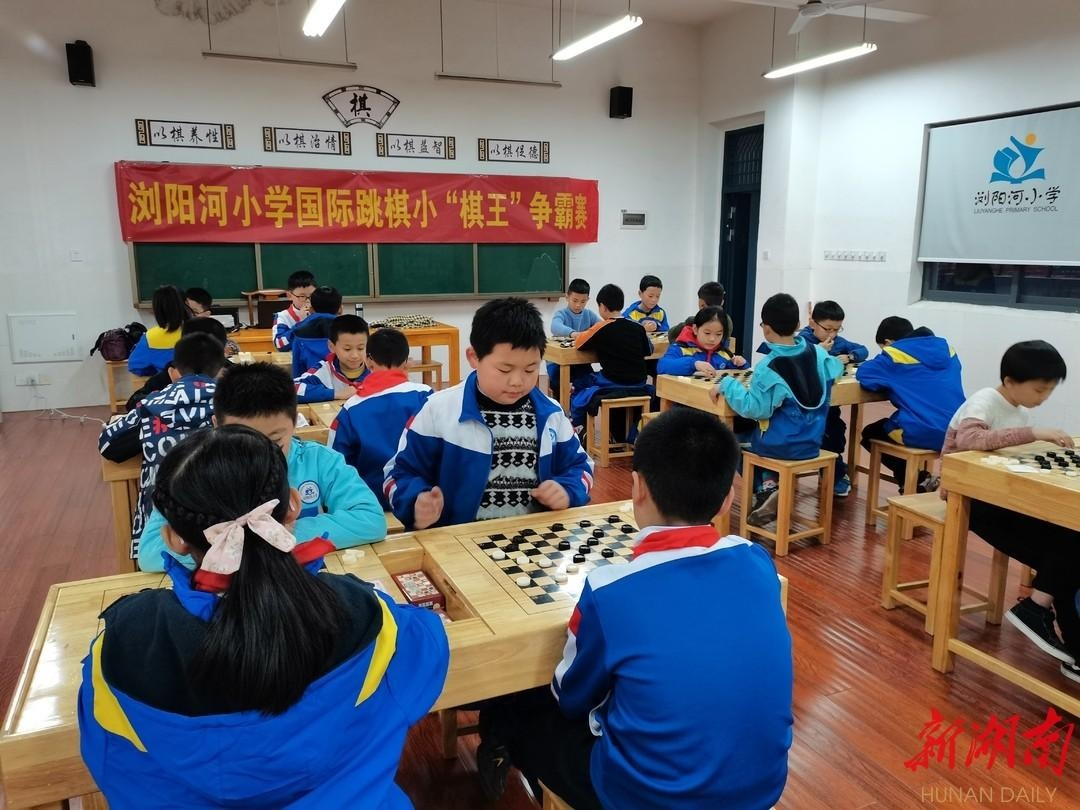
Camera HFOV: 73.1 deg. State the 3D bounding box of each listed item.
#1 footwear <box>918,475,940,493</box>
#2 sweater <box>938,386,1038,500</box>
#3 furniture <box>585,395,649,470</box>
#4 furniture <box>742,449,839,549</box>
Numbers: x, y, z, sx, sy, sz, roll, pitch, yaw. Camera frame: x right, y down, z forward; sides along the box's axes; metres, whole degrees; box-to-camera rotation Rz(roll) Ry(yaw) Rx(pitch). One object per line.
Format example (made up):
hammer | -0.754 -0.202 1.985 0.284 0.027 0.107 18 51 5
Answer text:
footwear | 1.950 0.401 3.663 0.117 0.051 0.127 4 19 31
sweater | 1.763 0.158 2.925 0.323 0.445 0.289 -8 35 -36
furniture | 0.465 0.186 5.332 0.458 0.692 0.486 -3 8 -19
furniture | 1.282 0.498 3.777 0.361 0.507 0.347 -11 20 -28
